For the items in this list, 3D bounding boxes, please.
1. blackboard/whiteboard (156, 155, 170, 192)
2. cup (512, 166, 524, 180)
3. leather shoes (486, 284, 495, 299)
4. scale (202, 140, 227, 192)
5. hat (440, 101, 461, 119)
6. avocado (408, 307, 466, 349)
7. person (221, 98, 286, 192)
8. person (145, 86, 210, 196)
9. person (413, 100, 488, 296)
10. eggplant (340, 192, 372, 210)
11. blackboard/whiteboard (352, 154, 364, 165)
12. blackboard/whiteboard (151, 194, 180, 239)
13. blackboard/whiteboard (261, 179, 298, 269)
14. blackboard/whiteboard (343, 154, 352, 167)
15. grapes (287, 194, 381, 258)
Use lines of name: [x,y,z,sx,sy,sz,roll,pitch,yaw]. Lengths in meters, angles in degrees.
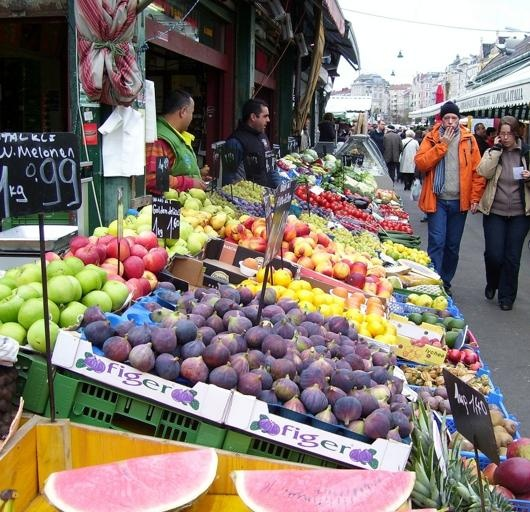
blackboard/whiteboard: [-0.840,-0.654,3.764,0.080,0.288,0.168,1,10,-2]
cup: [3.373,-1.093,6.142,0.126,0.179,0.188,7,12,29]
leather shoes: [3.346,0.530,6.856,0.126,0.208,0.070,1,1,9]
scale: [-0.685,-1.028,5.840,0.293,0.637,0.326,-3,4,12]
hat: [2.505,-1.978,6.244,0.234,0.226,0.467,6,12,20]
avocado: [1.436,0.569,3.875,0.381,0.262,0.467,9,12,22]
person: [-0.179,-1.444,6.288,0.571,1.334,0.695,8,18,27]
person: [-0.908,-1.144,4.912,0.596,1.334,0.604,12,18,24]
person: [2.627,-0.788,6.634,0.835,2.587,0.680,0,9,4]
eggplant: [1.634,-1.011,8.440,0.241,0.324,0.562,-20,31,-31]
blackboard/whiteboard: [2.600,-2.684,12.873,0.233,0.131,0.334,8,37,6]
blackboard/whiteboard: [-0.697,-0.260,3.283,0.197,0.307,0.199,-1,10,-15]
blackboard/whiteboard: [0.112,-0.190,3.238,0.039,0.593,0.795,10,18,14]
blackboard/whiteboard: [2.304,-2.632,12.805,0.244,0.268,0.425,3,11,8]
grapes: [0.902,-0.322,5.719,0.888,0.323,0.906,34,4,-24]
